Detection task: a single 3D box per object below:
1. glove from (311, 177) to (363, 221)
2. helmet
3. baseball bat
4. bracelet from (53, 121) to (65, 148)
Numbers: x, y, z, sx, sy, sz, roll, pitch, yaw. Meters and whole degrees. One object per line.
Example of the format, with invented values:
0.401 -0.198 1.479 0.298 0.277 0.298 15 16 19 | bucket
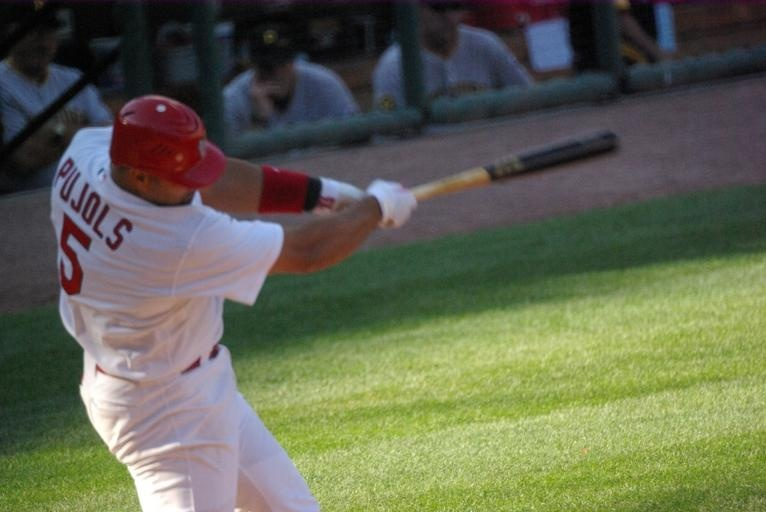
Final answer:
-0.205 -0.267 5.638 0.216 0.149 0.213 17 -8 -20 | glove
-0.879 -0.483 5.064 0.511 0.228 0.320 14 42 -9 | helmet
0.668 -0.514 6.585 1.958 0.184 0.193 -9 46 -41 | baseball bat
-1.676 -0.651 6.373 0.069 0.092 0.024 3 5 -1 | bracelet
